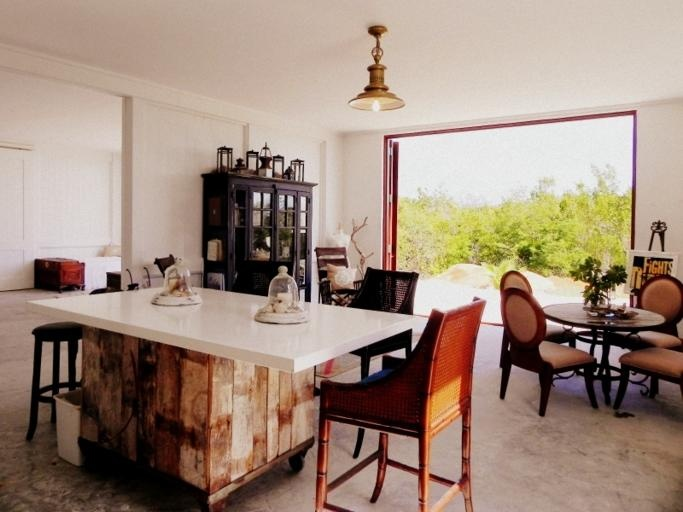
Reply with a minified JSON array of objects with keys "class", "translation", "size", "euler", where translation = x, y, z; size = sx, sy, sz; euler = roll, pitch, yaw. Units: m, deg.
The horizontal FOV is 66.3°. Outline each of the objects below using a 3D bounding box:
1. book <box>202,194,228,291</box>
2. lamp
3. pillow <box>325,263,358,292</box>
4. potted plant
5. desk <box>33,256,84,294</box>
[{"class":"book","translation":[-1.683,-0.196,6.746],"size":[0.164,1.168,0.507],"euler":[-3,6,-42]},{"class":"lamp","translation":[0.326,-1.669,4.757],"size":[0.652,0.806,0.696],"euler":[0,-2,9]},{"class":"pillow","translation":[-0.032,0.316,7.634],"size":[0.339,0.328,0.128],"euler":[5,-26,-13]},{"class":"potted plant","translation":[2.489,0.291,5.213],"size":[0.570,0.622,0.599],"euler":[-2,-2,23]},{"class":"desk","translation":[-5.375,0.323,9.916],"size":[0.822,0.546,0.506],"euler":[4,4,33]}]
